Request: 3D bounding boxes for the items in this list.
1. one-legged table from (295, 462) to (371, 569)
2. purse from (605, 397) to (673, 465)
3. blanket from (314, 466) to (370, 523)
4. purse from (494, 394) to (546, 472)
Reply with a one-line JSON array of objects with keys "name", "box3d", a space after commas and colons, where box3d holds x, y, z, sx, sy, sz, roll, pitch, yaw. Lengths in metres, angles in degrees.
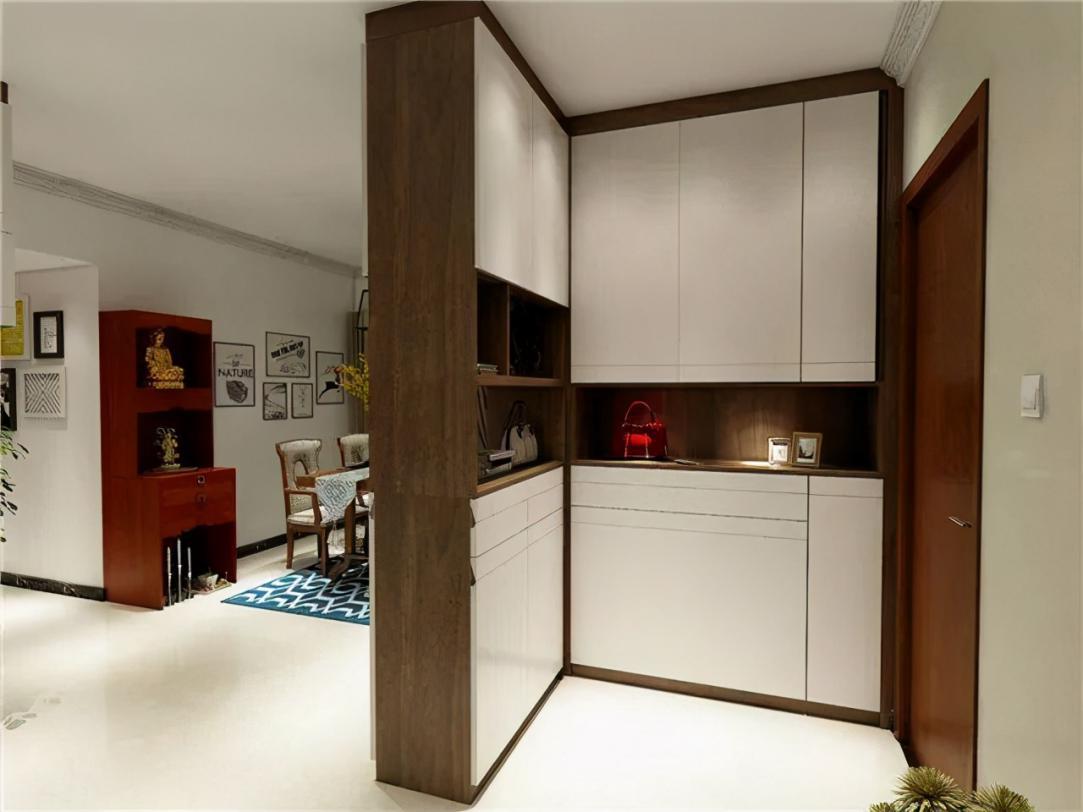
[{"name": "one-legged table", "box3d": [-1.558, 0.838, 5.902, 0.436, 0.790, 0.870, 0, 2, 16]}, {"name": "purse", "box3d": [0.569, 0.122, 4.516, 0.349, 0.306, 0.353, -18, 19, -41]}, {"name": "blanket", "box3d": [-1.527, 0.641, 5.747, 0.490, 0.345, 0.310, -2, 8, -25]}, {"name": "purse", "box3d": [-0.125, 0.150, 4.204, 0.138, 0.364, 0.357, -2, 2, 18]}]
